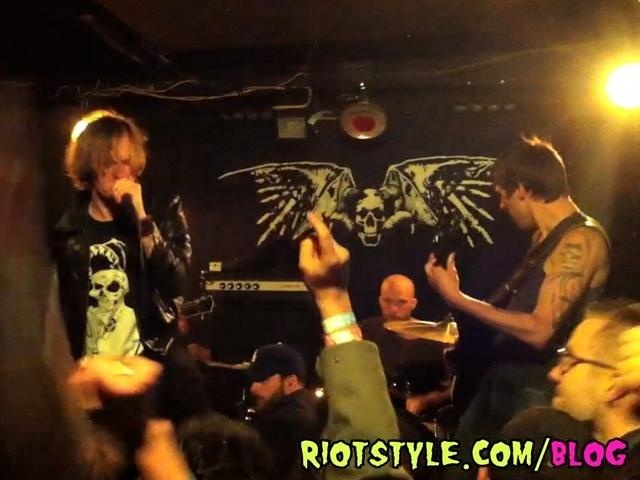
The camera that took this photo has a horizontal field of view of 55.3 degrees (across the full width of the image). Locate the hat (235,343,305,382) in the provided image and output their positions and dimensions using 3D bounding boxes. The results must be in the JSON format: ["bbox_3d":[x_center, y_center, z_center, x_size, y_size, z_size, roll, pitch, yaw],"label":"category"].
[{"bbox_3d":[-0.297,0.806,4.010,0.309,0.155,0.217,2,-14,2],"label":"hat"}]

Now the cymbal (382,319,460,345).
[{"bbox_3d":[0.646,0.562,4.005,0.427,0.160,0.129,8,23,10],"label":"cymbal"}]
